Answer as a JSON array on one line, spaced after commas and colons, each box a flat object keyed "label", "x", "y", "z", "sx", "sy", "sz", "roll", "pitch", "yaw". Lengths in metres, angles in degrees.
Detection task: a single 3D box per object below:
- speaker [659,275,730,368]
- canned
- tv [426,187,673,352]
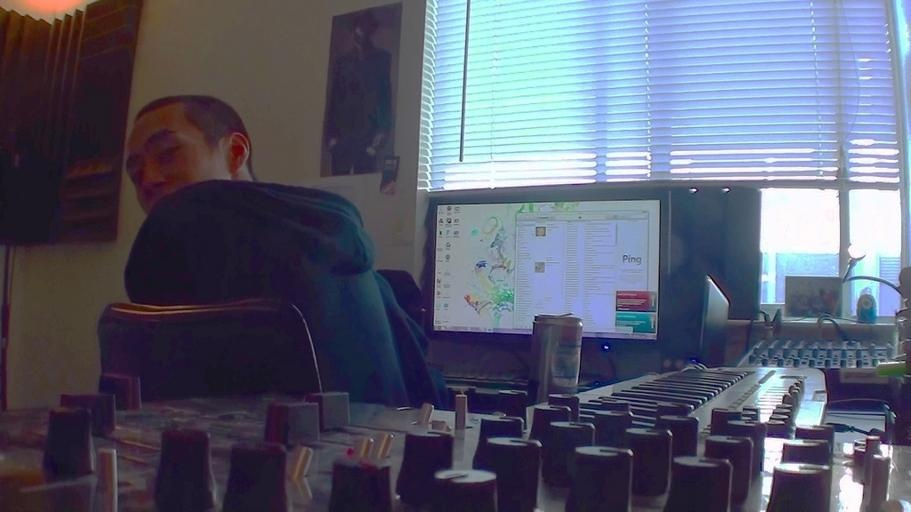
[{"label": "speaker", "x": 0.549, "y": 0.151, "z": 1.576, "sx": 0.118, "sy": 0.196, "sz": 0.222, "roll": 0, "pitch": -3, "yaw": 38}, {"label": "canned", "x": 0.159, "y": 0.164, "z": 1.070, "sx": 0.085, "sy": 0.139, "sz": 0.081, "roll": 1, "pitch": -2, "yaw": 16}, {"label": "tv", "x": 0.229, "y": 0.035, "z": 1.680, "sx": 0.644, "sy": 0.350, "sz": 0.009, "roll": 1, "pitch": -1, "yaw": -17}]
